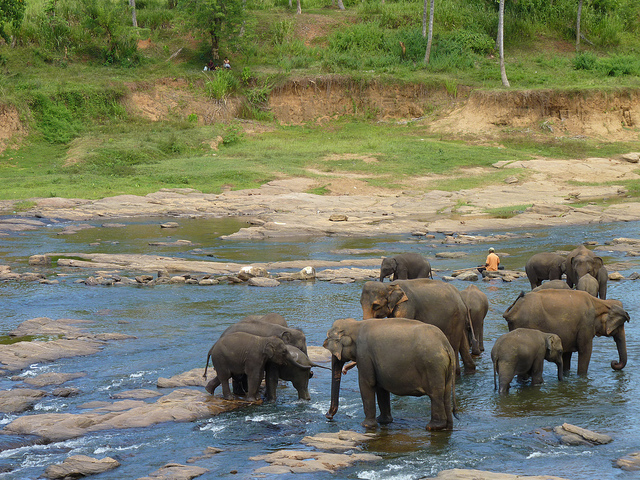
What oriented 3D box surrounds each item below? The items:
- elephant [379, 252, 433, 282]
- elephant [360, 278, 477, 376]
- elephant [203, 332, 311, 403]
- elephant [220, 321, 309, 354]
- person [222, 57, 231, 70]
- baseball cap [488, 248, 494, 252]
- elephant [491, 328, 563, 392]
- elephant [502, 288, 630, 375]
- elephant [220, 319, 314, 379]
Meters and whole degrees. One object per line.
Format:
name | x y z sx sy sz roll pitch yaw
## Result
elephant | 2.656 0.994 32.642 2.015 0.965 0.667 -1 8 -27
elephant | 2.436 2.428 28.435 4.855 2.338 1.683 3 -9 -35
elephant | -1.669 3.537 28.164 3.140 1.606 0.932 0 -1 14
elephant | -1.485 2.719 28.408 2.375 1.017 0.863 1 7 0
person | -5.931 -11.209 65.568 0.513 0.783 1.471 -5 7 -4
baseball cap | 6.017 0.360 36.175 0.157 0.074 0.184 6 -3 -24
elephant | 5.725 3.346 28.298 2.437 1.617 1.105 1 1 -29
elephant | 6.885 2.687 28.799 4.345 2.313 1.241 3 1 -26
elephant | -1.301 2.924 28.132 3.142 1.387 1.187 8 8 2
